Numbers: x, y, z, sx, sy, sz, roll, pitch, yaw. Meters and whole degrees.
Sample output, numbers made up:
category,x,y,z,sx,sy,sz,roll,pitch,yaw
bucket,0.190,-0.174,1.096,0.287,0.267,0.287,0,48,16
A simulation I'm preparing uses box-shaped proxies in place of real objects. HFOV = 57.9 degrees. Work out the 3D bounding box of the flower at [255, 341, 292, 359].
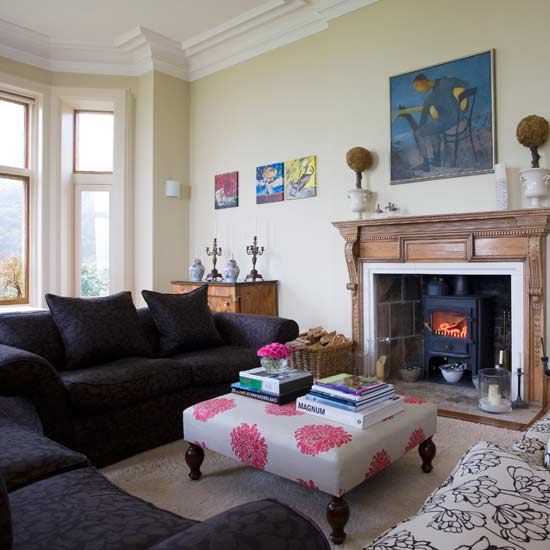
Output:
category,x,y,z,sx,sy,sz,roll,pitch,yaw
flower,-0.001,0.343,2.327,0.098,0.058,0.104,0,-1,5

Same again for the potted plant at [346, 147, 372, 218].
category,x,y,z,sx,sy,sz,roll,pitch,yaw
potted plant,0.656,-0.766,4.120,0.191,0.595,0.269,-3,4,-36

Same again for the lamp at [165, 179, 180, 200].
category,x,y,z,sx,sy,sz,roll,pitch,yaw
lamp,-1.103,-0.951,5.446,0.089,0.197,0.194,1,4,37

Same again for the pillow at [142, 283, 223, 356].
category,x,y,z,sx,sy,sz,roll,pitch,yaw
pillow,-0.588,0.303,3.245,0.460,0.323,0.209,-5,-3,-39

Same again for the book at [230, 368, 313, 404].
category,x,y,z,sx,sy,sz,roll,pitch,yaw
book,0.038,0.493,2.264,0.197,0.058,0.189,-1,0,42

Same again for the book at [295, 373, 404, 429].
category,x,y,z,sx,sy,sz,roll,pitch,yaw
book,0.279,0.486,2.021,0.250,0.070,0.229,-2,1,-41

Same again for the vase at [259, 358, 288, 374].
category,x,y,z,sx,sy,sz,roll,pitch,yaw
vase,-0.018,0.420,2.324,0.088,0.039,0.086,4,-5,-44

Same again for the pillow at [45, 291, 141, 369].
category,x,y,z,sx,sy,sz,roll,pitch,yaw
pillow,-0.987,0.312,2.693,0.175,0.280,0.400,-18,-9,40

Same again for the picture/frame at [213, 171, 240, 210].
category,x,y,z,sx,sy,sz,roll,pitch,yaw
picture/frame,-0.502,-0.896,5.241,0.513,0.448,0.056,0,-1,44

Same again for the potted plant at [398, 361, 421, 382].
category,x,y,z,sx,sy,sz,roll,pitch,yaw
potted plant,1.055,0.755,3.895,0.159,0.085,0.145,1,-5,-10
